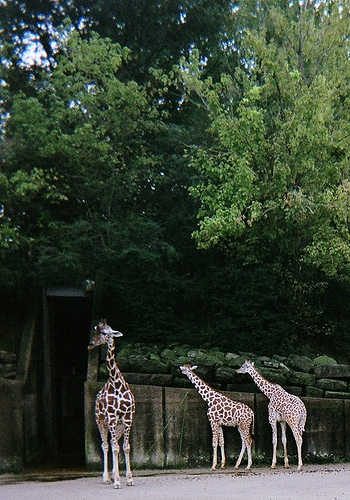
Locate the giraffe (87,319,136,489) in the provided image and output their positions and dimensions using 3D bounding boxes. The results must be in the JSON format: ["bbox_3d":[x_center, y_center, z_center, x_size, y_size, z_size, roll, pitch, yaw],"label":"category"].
[{"bbox_3d":[-0.876,2.086,8.547,0.662,2.244,0.819,3,-12,-21],"label":"giraffe"}]

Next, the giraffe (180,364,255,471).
[{"bbox_3d":[0.701,2.592,9.569,1.018,1.602,0.480,-2,-11,6],"label":"giraffe"}]
